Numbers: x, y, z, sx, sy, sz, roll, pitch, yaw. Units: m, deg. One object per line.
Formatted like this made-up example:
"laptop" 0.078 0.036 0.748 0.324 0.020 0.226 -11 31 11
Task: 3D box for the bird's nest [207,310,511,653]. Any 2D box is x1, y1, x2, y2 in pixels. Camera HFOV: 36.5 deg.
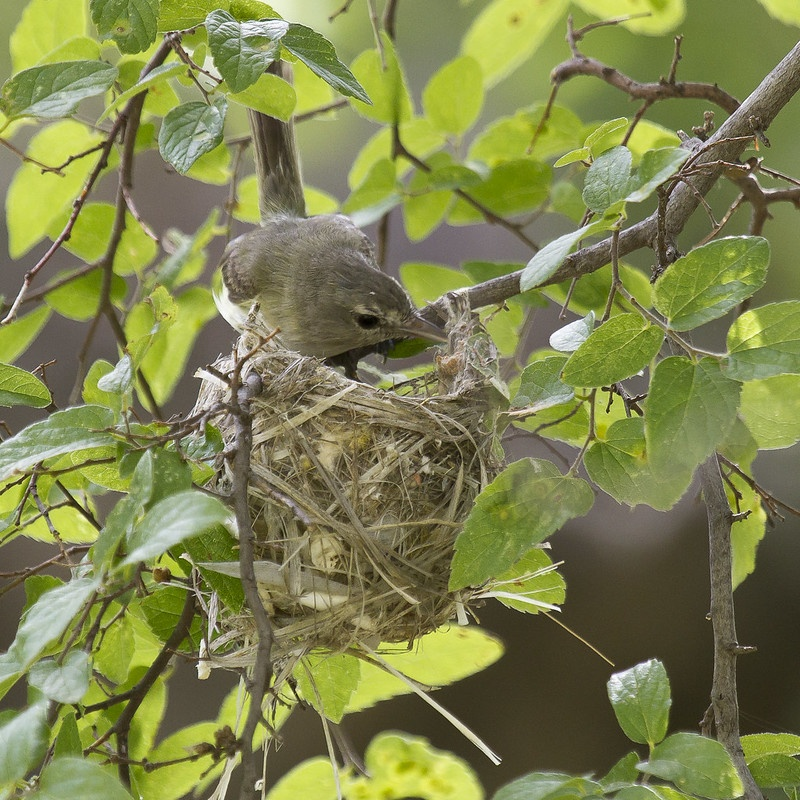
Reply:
"bird's nest" 0.011 0.199 2.277 0.534 0.519 0.578 -7 -52 1
